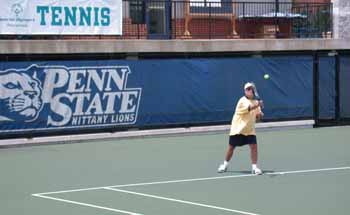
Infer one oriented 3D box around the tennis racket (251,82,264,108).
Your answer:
[{"bbox_3d":[3.667,-0.584,26.408,0.305,1.337,0.395,-11,-33,-11],"label":"tennis racket"}]
